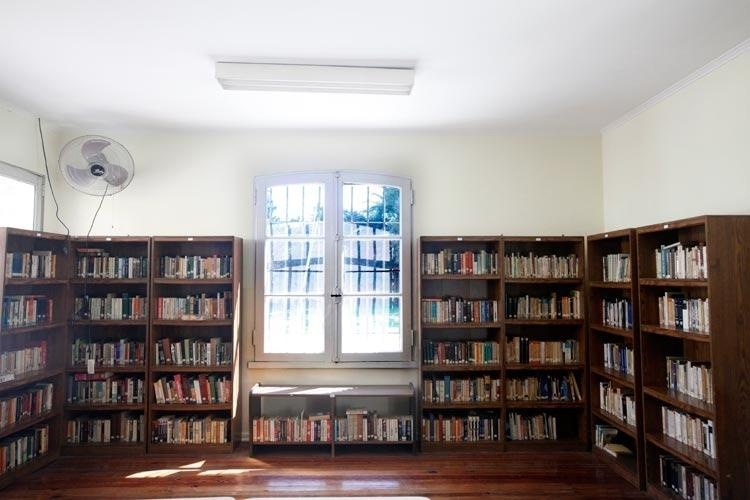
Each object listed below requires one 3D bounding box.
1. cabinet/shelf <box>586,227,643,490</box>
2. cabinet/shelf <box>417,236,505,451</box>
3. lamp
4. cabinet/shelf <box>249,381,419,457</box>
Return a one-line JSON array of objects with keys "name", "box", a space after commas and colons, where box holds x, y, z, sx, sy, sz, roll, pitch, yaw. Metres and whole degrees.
[{"name": "cabinet/shelf", "box": [2.604, 1.023, 6.338, 0.518, 2.533, 1.304, 2, 12, 10]}, {"name": "cabinet/shelf", "box": [0.945, 0.974, 6.741, 0.973, 2.359, 0.503, 0, 9, -2]}, {"name": "lamp", "box": [-0.573, -1.692, 5.756, 1.932, 0.281, 0.259, -1, 12, -2]}, {"name": "cabinet/shelf", "box": [-0.473, 2.003, 6.778, 1.880, 0.826, 0.646, 1, -9, 0]}]
